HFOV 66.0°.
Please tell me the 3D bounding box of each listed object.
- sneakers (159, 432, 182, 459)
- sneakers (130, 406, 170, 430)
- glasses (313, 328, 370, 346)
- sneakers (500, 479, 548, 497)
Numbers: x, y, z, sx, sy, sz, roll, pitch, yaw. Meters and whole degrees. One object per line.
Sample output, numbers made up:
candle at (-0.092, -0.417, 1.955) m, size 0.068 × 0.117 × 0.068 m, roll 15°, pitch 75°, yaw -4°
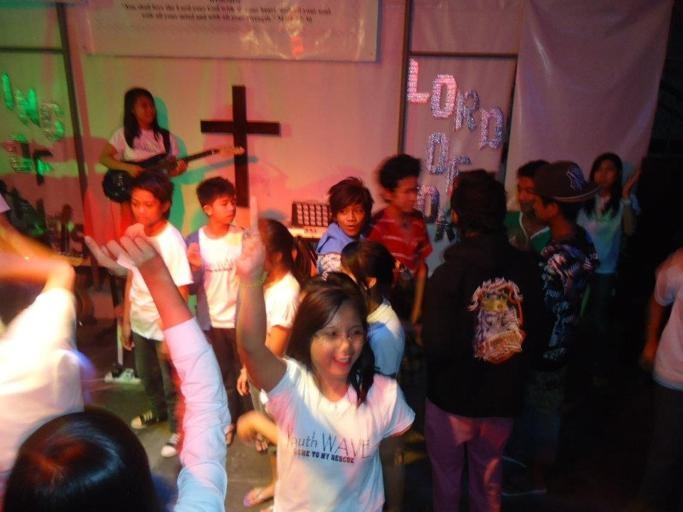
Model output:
sneakers at (-1.436, 1.589, 4.359) m, size 0.082 × 0.108 × 0.261 m, roll 2°, pitch -7°, yaw -6°
sneakers at (-1.746, 1.435, 4.707) m, size 0.259 × 0.162 × 0.253 m, roll 9°, pitch 15°, yaw 32°
glasses at (-0.022, 0.435, 2.819) m, size 0.280 × 0.086 × 0.065 m, roll 0°, pitch 12°, yaw -6°
sneakers at (1.442, 1.835, 4.155) m, size 0.357 × 0.082 × 0.117 m, roll 0°, pitch 12°, yaw -6°
